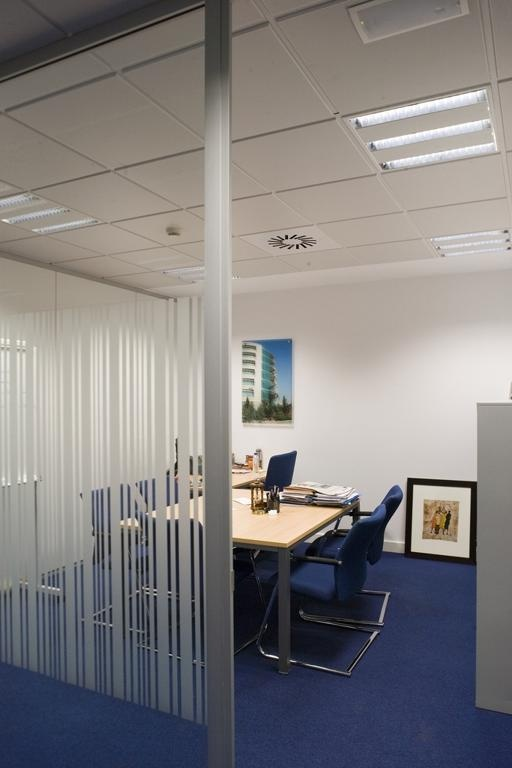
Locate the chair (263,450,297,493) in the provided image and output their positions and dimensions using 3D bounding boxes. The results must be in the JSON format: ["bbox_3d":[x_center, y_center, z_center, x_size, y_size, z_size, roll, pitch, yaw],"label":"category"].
[{"bbox_3d":[0.238,0.820,5.277,0.341,0.492,0.281,2,4,36],"label":"chair"}]

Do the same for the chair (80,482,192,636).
[{"bbox_3d":[-0.388,0.487,1.730,0.281,0.326,0.183,-1,-7,4],"label":"chair"}]

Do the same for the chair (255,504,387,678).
[{"bbox_3d":[0.424,1.108,3.231,0.518,0.887,0.609,5,3,28],"label":"chair"}]

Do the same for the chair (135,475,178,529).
[{"bbox_3d":[-0.276,0.364,1.741,0.128,0.173,0.153,-7,-10,39],"label":"chair"}]

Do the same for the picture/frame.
[{"bbox_3d":[1.729,1.294,5.242,0.641,0.887,0.040,2,20,16],"label":"picture/frame"}]
